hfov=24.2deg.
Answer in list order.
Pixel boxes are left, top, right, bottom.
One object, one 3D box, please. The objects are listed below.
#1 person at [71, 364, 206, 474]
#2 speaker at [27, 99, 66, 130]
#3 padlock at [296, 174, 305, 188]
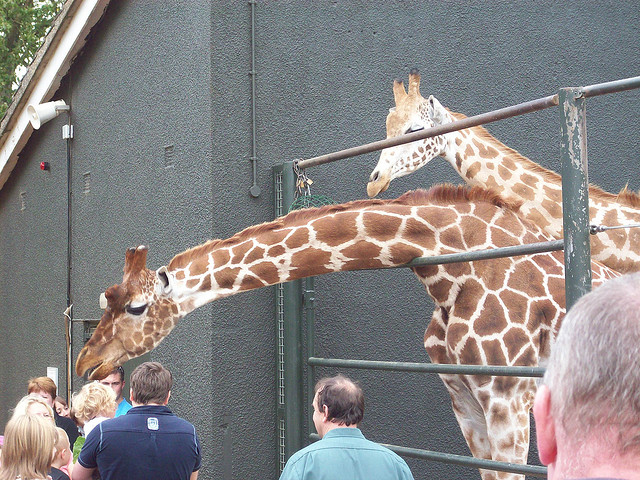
[{"bbox_3d":[-1.301,1.270,11.520,1.037,1.321,0.793,3,0,-8],"label":"person"},{"bbox_3d":[-2.761,-1.327,15.212,0.376,0.368,0.357,3,-12,-11],"label":"speaker"},{"bbox_3d":[-0.151,-0.523,12.687,0.025,0.082,0.093,-6,8,-37],"label":"padlock"}]
